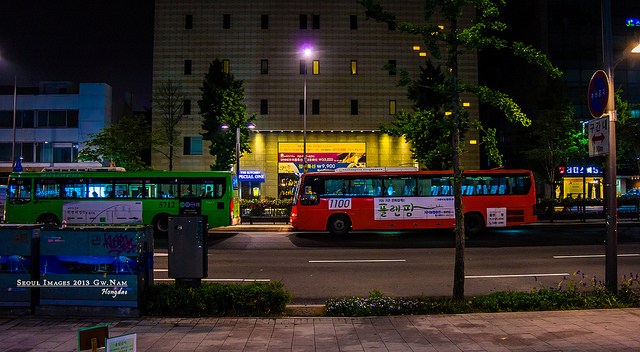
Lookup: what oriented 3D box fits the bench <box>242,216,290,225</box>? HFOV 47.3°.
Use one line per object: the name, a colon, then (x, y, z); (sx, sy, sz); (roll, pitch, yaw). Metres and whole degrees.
bench: (-5.945, 4.906, 80.411); (5.071, 0.828, 1.604); (-1, -5, -3)
